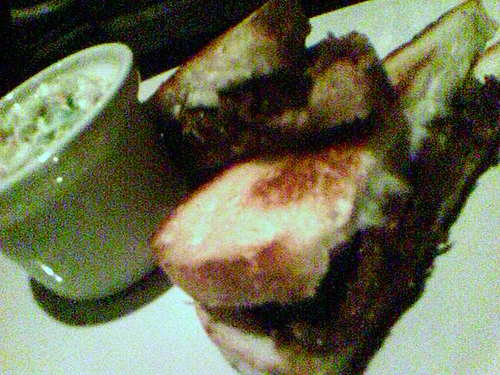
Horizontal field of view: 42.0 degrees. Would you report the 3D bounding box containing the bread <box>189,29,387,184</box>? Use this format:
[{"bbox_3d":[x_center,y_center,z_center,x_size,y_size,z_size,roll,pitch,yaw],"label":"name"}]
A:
[{"bbox_3d":[0.095,-0.118,0.971,0.232,0.471,0.131,-7,87,9],"label":"bread"}]

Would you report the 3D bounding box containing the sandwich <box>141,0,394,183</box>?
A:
[{"bbox_3d":[0.014,-0.106,0.765,0.230,0.071,0.214,-46,37,-2],"label":"sandwich"}]
